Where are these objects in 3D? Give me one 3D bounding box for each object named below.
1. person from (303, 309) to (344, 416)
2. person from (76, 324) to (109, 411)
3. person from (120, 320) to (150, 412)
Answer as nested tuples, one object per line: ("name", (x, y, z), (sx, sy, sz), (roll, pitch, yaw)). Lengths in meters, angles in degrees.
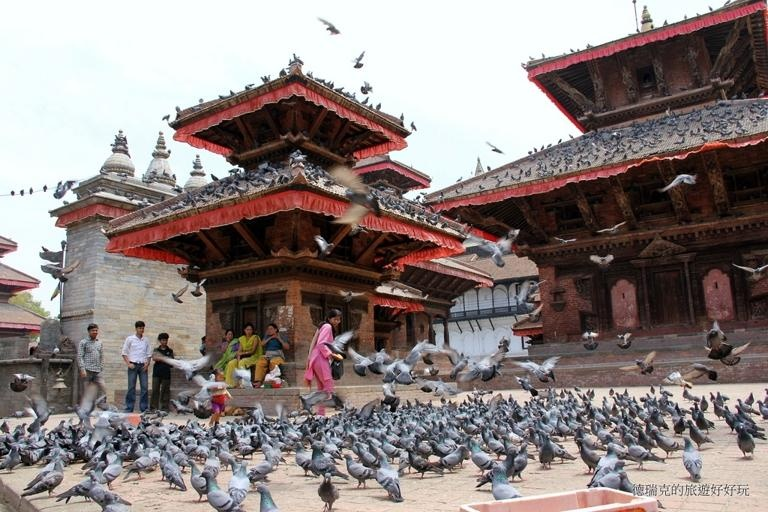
("person", (-1.574, 2.609, 18.028), (1.369, 2.338, 1.100), (1, 3, -9))
("person", (-8.356, 3.245, 20.394), (0.983, 2.433, 0.766), (3, -5, -35))
("person", (-6.840, 3.276, 20.050), (1.142, 2.720, 1.019), (-1, 20, -25))
